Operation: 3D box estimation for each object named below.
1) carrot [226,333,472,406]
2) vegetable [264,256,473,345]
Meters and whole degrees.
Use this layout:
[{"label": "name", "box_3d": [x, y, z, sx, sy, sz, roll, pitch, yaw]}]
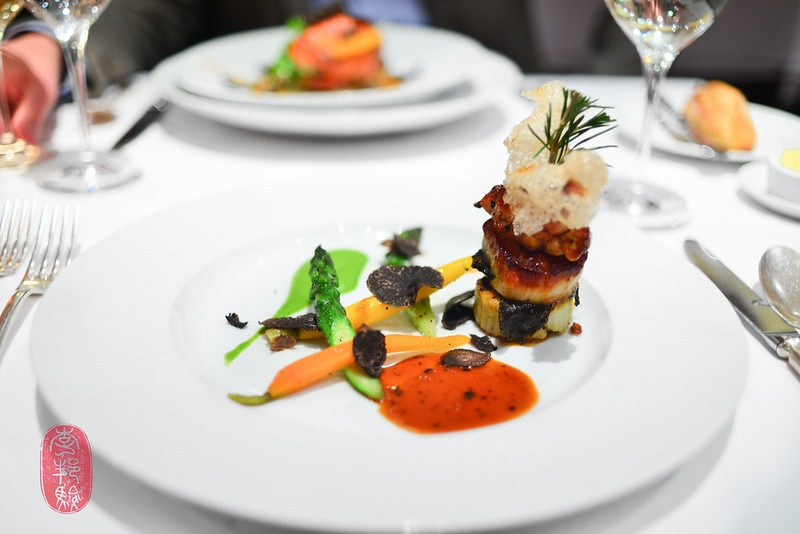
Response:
[{"label": "carrot", "box_3d": [-0.159, 0.302, 1.928, 0.568, 0.079, 0.061, -13, 12, -17]}, {"label": "vegetable", "box_3d": [-0.102, 0.119, 2.139, 0.527, 0.076, 0.075, -21, 46, -25]}]
